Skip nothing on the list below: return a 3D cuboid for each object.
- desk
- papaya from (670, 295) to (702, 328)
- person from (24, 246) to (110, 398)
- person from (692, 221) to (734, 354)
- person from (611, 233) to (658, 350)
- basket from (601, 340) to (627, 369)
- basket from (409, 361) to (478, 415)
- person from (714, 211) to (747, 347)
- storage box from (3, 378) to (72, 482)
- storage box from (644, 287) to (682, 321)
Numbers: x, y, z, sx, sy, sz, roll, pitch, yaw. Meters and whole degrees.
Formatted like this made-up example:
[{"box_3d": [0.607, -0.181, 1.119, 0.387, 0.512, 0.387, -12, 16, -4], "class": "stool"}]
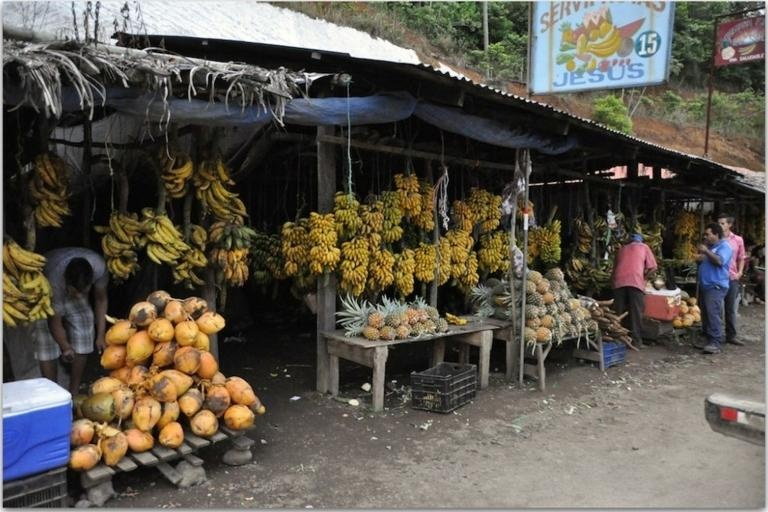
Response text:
[{"box_3d": [1.115, 1.539, 8.869, 4.312, 1.116, 1.368, -1, 3, -37], "class": "desk"}, {"box_3d": [6.011, 1.121, 12.256, 0.317, 0.593, 0.762, 15, 15, 26], "class": "papaya"}, {"box_3d": [-3.860, 0.720, 7.582, 0.871, 1.988, 0.684, 0, 0, -14], "class": "person"}, {"box_3d": [5.898, 0.504, 11.076, 0.753, 2.336, 0.847, -4, 5, -40], "class": "person"}, {"box_3d": [4.525, 0.587, 10.926, 0.934, 1.971, 0.759, 0, 1, -30], "class": "person"}, {"box_3d": [3.791, 1.598, 10.099, 0.362, 0.446, 0.643, -2, -1, 43], "class": "basket"}, {"box_3d": [0.845, 1.792, 8.416, 0.534, 0.426, 0.826, -4, -3, 39], "class": "basket"}, {"box_3d": [6.606, 0.529, 11.553, 0.863, 2.968, 0.745, 0, 1, 26], "class": "person"}, {"box_3d": [-3.575, 1.752, 6.293, 0.655, 0.817, 0.518, -6, 16, -29], "class": "storage box"}, {"box_3d": [5.226, 0.856, 11.546, 0.621, 0.473, 0.636, 2, 2, 41], "class": "storage box"}]
